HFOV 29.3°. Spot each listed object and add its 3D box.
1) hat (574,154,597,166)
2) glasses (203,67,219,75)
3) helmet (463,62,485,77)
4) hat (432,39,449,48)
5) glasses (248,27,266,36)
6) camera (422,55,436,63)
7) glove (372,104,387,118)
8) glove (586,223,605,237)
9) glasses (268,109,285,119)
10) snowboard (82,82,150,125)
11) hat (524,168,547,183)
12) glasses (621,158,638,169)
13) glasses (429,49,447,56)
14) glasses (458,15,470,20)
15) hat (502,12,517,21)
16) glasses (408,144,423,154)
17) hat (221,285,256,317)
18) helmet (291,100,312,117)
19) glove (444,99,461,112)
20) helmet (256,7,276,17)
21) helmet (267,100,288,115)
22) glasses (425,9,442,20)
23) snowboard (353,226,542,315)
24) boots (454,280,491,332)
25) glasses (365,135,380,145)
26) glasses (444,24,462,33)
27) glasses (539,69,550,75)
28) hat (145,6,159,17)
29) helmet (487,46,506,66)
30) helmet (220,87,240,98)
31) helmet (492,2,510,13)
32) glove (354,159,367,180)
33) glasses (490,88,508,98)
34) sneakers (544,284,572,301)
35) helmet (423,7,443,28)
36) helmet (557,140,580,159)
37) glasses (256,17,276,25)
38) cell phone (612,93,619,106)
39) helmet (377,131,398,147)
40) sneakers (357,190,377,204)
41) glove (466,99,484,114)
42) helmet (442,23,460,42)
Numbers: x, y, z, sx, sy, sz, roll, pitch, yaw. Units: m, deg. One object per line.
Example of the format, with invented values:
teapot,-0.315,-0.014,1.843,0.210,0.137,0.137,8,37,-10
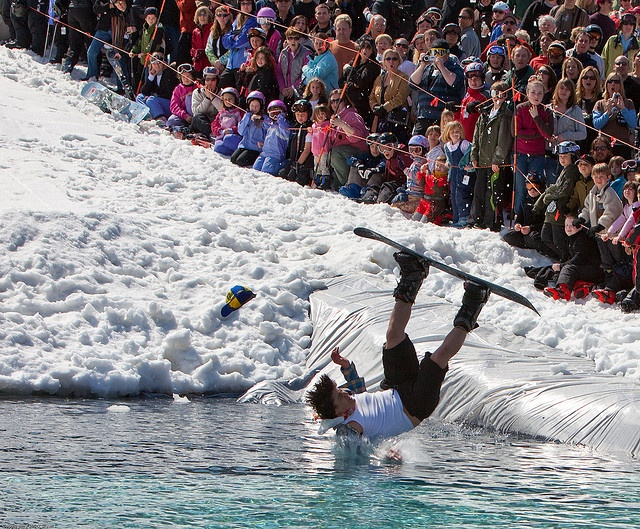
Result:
hat,3.416,-1.310,15.598,0.141,0.097,0.192,9,-17,44
glasses,-1.828,-3.177,20.439,0.233,0.139,0.282,1,-8,-6
helmet,2.123,-2.624,16.788,0.259,0.214,0.289,9,11,6
hat,1.691,-3.046,17.195,0.230,0.134,0.204,8,11,1
glasses,-1.024,-3.632,19.563,0.146,0.082,0.195,27,9,29
camera,1.558,-2.852,17.346,0.104,0.124,0.352,5,11,-16
glove,0.884,-2.209,17.925,0.216,0.182,0.139,9,12,5
glove,3.463,-0.418,15.280,0.200,0.167,0.056,17,15,38
glasses,-0.698,-2.312,19.069,0.175,0.088,0.134,-7,-9,34
snowboard,-3.501,-2.694,20.631,1.314,0.503,0.394,13,13,26
hat,2.884,-1.159,16.305,0.167,0.176,0.202,18,30,24
glasses,3.862,-1.203,15.199,0.196,0.143,0.132,10,12,11
glasses,1.662,-2.925,17.176,0.234,0.136,0.093,15,14,33
glasses,2.120,-3.588,17.982,0.135,0.047,0.057,13,13,27
hat,2.799,-3.585,17.913,0.191,0.097,0.251,4,15,16
glasses,1.342,-1.589,17.251,0.119,0.143,0.129,6,7,30
hat,-1.033,0.425,14.808,0.428,0.197,0.244,-35,3,-19
helmet,-0.282,-2.334,18.615,0.233,0.243,0.265,-2,-27,10
glove,1.860,-2.183,17.123,0.199,0.064,0.143,0,21,-36
helmet,-0.864,-3.980,19.679,0.227,0.083,0.162,7,8,0
helmet,-0.673,-2.425,19.160,0.313,0.198,0.320,7,11,-4
glasses,1.708,-3.733,18.501,0.116,0.133,0.350,-30,10,-9
snowboard,1.504,0.112,14.826,2.085,0.145,0.289,24,-16,3
boots,1.485,0.400,11.958,0.228,0.616,0.279,22,27,17
glasses,0.769,-1.798,17.831,0.134,0.151,0.077,15,37,4
glasses,1.892,-3.321,17.571,0.243,0.151,0.305,9,11,4
glasses,2.957,-2.507,16.156,0.081,0.078,0.040,2,24,20
hat,-3.075,-4.498,22.144,0.155,0.154,0.213,20,31,40
helmet,2.454,-2.858,16.963,0.221,0.265,0.215,5,19,11
helmet,-1.513,-2.777,20.045,0.376,0.148,0.178,15,13,32
helmet,2.668,-3.702,17.976,0.156,0.114,0.226,18,-3,38
glove,0.599,-1.375,17.936,0.099,0.345,0.107,-32,-24,9
glasses,2.399,-2.243,16.390,0.045,0.135,0.139,-1,26,-40
sneakers,2.963,0.360,15.443,0.382,0.138,0.243,14,44,13
helmet,1.702,-3.675,18.502,0.297,0.290,0.640,9,11,4
helmet,3.208,-1.467,15.733,0.234,0.115,0.165,6,6,33
glasses,-0.869,-3.845,19.665,0.285,0.116,0.156,6,12,-6
cell phone,3.834,-2.099,15.848,0.061,0.158,0.066,9,5,10
helmet,0.975,-1.793,17.610,0.223,0.178,0.161,-24,44,-18
sneakers,0.694,-0.971,17.729,0.288,0.198,0.294,13,12,22
glove,2.133,-2.130,16.809,0.205,0.067,0.147,-11,0,22
helmet,1.876,-3.265,17.476,0.219,0.238,0.263,3,-5,0
